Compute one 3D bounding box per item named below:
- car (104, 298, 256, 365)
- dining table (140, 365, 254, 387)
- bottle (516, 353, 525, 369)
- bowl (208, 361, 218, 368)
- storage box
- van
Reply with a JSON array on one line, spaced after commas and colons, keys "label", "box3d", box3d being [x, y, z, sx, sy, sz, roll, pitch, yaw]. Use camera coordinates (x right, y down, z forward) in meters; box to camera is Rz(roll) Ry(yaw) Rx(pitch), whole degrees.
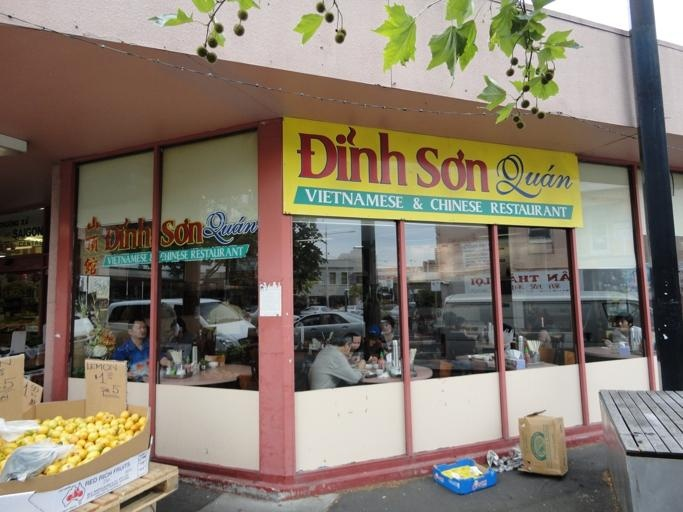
[{"label": "car", "box3d": [-2.008, 0.995, 6.857, 1.452, 0.763, 0.839, -4, -5, 11]}, {"label": "dining table", "box3d": [-1.521, 1.428, 6.499, 1.069, 0.227, 0.294, -6, -7, 24]}, {"label": "bottle", "box3d": [2.341, 1.390, 7.134, 0.169, 0.178, 0.088, 4, -9, -34]}, {"label": "bowl", "box3d": [-1.579, 1.341, 6.709, 0.084, 0.059, 0.088, 0, -12, 0]}, {"label": "storage box", "box3d": [2.318, 2.222, 6.335, 0.645, 0.892, 0.323, -1, 2, 35]}, {"label": "van", "box3d": [2.988, 1.154, 8.012, 2.892, 1.430, 0.981, -2, 8, 10]}]
